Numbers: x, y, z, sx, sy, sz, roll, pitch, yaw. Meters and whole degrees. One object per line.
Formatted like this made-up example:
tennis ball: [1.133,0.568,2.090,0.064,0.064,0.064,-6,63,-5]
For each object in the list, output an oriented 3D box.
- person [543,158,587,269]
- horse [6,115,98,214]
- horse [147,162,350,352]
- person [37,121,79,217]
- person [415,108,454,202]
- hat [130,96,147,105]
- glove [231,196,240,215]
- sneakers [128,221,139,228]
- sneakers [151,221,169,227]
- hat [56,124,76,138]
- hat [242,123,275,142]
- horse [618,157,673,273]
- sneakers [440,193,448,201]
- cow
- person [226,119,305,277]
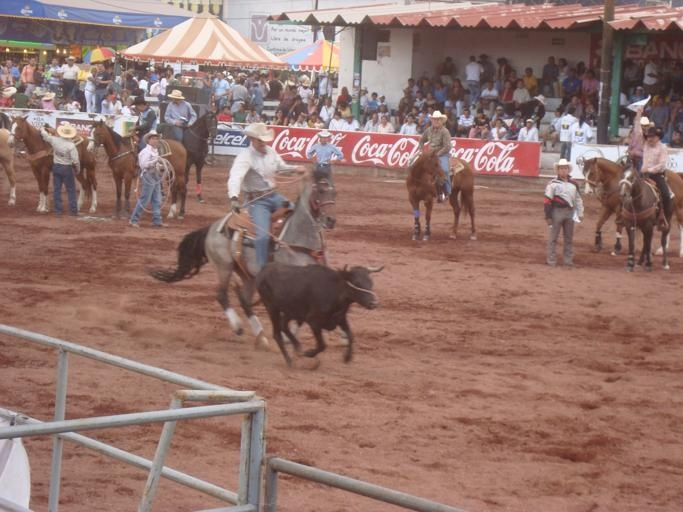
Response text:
person: [4.872,-0.943,20.485,0.768,2.295,1.558,3,6,14]
horse: [-7.357,-2.397,24.232,0.805,2.178,2.949,7,6,39]
horse: [-1.576,0.077,15.456,4.093,2.709,1.048,-1,4,32]
person: [-6.950,-2.069,23.134,0.909,2.175,1.149,0,6,-16]
person: [2.317,-2.409,22.460,0.575,2.070,0.883,0,6,-12]
hat: [-5.261,-4.046,24.416,0.340,0.133,0.299,-6,14,-16]
glove: [-1.675,-0.802,14.786,0.126,0.265,0.512,1,7,-6]
sneakers: [-5.013,-0.750,22.520,0.305,0.132,0.113,12,18,31]
sneakers: [-4.397,-0.769,22.734,0.394,0.155,0.148,-3,7,0]
hat: [-6.719,-3.017,22.847,0.425,0.313,0.510,0,7,-15]
hat: [-1.394,-1.977,14.846,0.413,0.168,0.350,13,7,38]
horse: [6.601,-0.792,20.307,1.590,2.205,0.729,-4,8,-40]
sneakers: [2.453,-1.400,22.285,0.145,0.182,0.320,4,7,21]
cow: [-0.395,0.919,14.100,1.852,1.610,0.488,4,7,25]
person: [-1.313,-0.937,14.929,0.687,2.331,1.201,7,8,42]
